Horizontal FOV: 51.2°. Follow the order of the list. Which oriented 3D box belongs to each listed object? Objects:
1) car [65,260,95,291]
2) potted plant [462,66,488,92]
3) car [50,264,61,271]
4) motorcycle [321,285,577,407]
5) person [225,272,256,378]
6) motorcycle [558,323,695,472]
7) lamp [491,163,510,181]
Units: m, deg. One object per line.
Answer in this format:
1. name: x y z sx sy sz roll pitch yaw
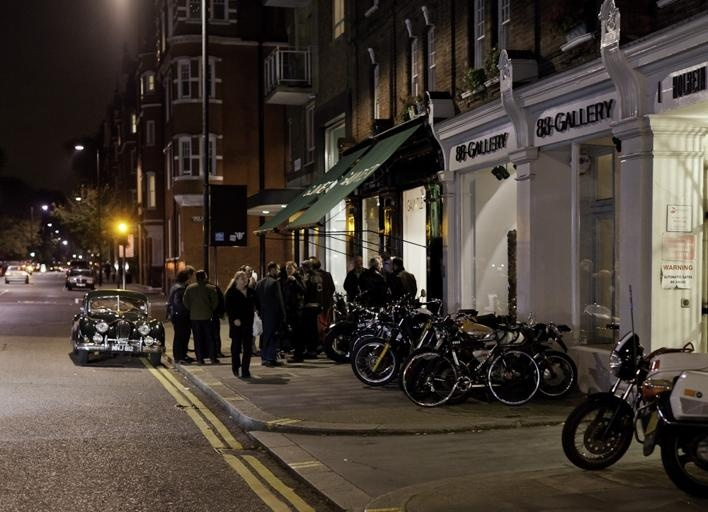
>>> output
1. car: -26.108 1.807 70.720 1.998 2.458 4.984 0 -5 -14
2. potted plant: 2.721 -3.941 16.586 0.419 0.328 0.462 -8 -7 17
3. car: -84.746 3.388 209.608 1.768 1.611 2.814 3 5 4
4. motorcycle: 2.027 1.817 12.870 3.201 1.849 1.813 6 -13 -7
5. person: -2.397 1.390 15.373 0.596 2.176 1.495 3 -5 -9
6. motorcycle: 2.893 1.743 8.581 1.867 1.395 1.041 3 -4 -7
7. lamp: 3.299 -1.865 16.612 0.231 0.360 0.098 -33 -20 36
